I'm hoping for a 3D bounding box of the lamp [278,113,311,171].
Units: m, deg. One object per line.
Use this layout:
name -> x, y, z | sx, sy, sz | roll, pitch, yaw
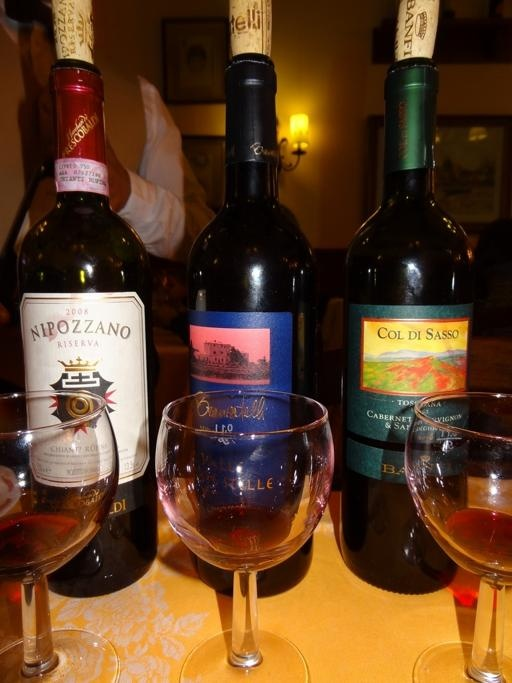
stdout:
lamp -> 0.162, -0.935, 2.889 | 0.168, 0.258, 0.082 | -1, 8, 0
